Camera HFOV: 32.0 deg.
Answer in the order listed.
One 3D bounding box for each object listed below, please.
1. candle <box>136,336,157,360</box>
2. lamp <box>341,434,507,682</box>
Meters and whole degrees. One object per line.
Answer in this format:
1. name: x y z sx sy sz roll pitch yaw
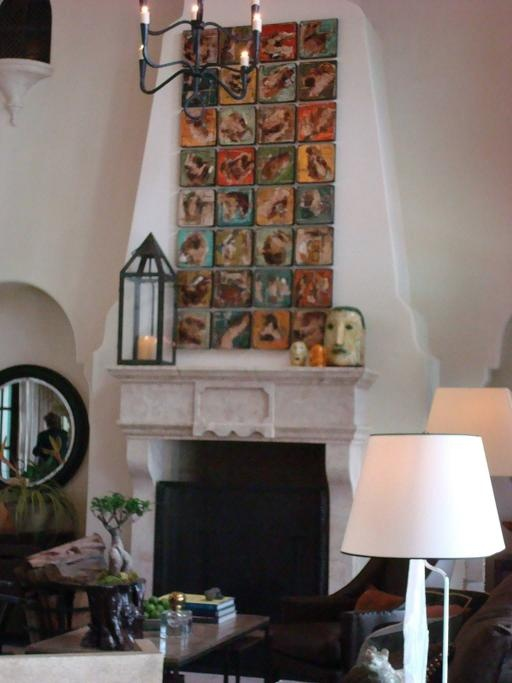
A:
1. candle: -0.621 0.029 4.850 0.138 0.139 0.131 0 0 -22
2. lamp: 0.403 0.544 2.156 0.337 0.635 0.337 7 -9 -38
